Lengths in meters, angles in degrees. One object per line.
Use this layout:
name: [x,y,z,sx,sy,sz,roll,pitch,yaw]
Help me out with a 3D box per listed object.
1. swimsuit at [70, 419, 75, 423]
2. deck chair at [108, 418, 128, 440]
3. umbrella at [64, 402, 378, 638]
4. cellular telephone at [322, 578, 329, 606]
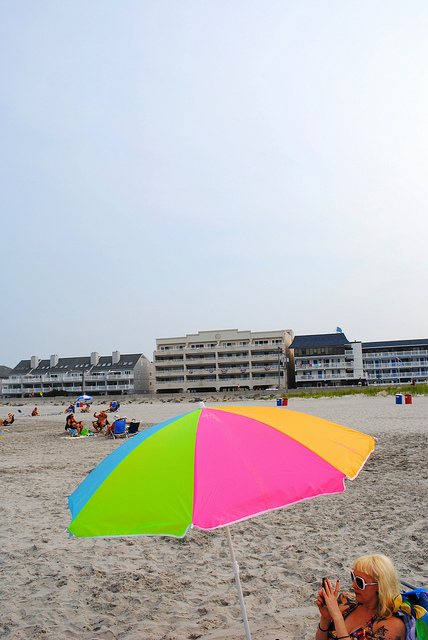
swimsuit: [-6.105,4.380,20.729,0.140,0.163,0.150,-15,-29,1]
deck chair: [-3.843,4.319,19.151,0.558,0.849,0.619,1,5,-18]
umbrella: [0.066,0.804,2.713,1.683,0.589,1.173,2,-7,-18]
cellular telephone: [0.594,1.448,2.569,0.034,0.135,0.093,-1,-6,12]
